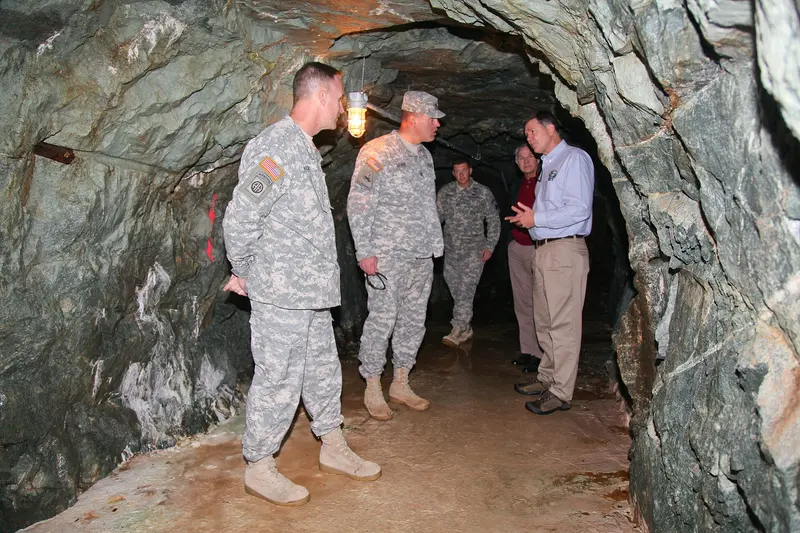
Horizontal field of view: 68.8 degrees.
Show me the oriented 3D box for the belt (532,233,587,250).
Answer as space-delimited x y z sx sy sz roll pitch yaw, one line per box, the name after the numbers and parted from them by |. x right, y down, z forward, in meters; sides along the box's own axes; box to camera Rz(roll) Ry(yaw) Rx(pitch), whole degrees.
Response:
1.259 -0.204 4.654 0.386 0.134 0.258 3 12 14 | belt

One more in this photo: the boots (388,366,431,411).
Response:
0.096 1.009 4.925 0.374 0.329 0.180 13 18 29 | boots

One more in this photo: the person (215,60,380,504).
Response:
-0.637 0.088 3.567 0.802 2.615 0.553 -9 15 -34 | person

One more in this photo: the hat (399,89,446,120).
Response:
0.170 -1.298 4.725 0.358 0.137 0.250 10 22 -2 | hat

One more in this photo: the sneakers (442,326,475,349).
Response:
0.714 0.823 7.068 0.224 0.217 0.538 10 15 41 | sneakers

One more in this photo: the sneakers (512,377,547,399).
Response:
1.163 1.069 5.246 0.310 0.121 0.113 2 15 8 | sneakers

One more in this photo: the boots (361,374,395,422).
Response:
-0.187 1.023 4.720 0.178 0.275 0.427 -8 18 -20 | boots

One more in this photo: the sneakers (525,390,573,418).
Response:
1.208 1.126 4.814 0.375 0.160 0.163 1 5 -5 | sneakers

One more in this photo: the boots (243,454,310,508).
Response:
-0.763 1.270 3.608 0.475 0.297 0.204 4 11 27 | boots

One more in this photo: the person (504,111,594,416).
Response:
1.205 -0.002 4.763 0.615 2.430 0.596 3 13 14 | person

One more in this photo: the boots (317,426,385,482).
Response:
-0.329 1.222 3.872 0.458 0.287 0.183 6 13 21 | boots
